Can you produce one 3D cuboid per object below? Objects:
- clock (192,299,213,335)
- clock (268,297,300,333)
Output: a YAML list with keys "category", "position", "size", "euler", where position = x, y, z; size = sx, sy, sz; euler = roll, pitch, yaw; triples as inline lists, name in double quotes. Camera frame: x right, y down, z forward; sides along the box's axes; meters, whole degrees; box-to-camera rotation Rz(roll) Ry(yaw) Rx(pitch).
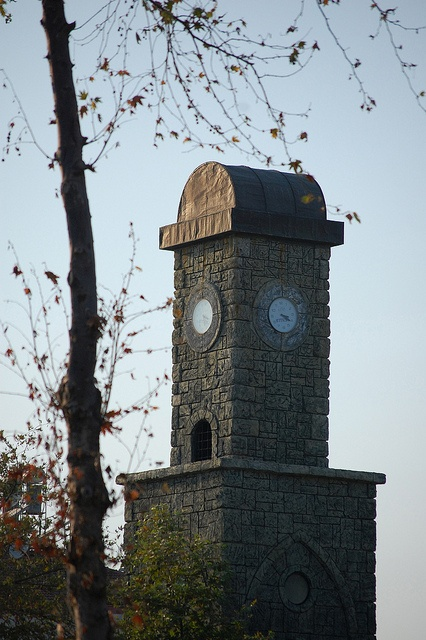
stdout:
- category: "clock"
  position: [-0.182, -0.020, 31.520]
  size: [0.035, 0.556, 0.402]
  euler: [13, -19, -36]
- category: "clock"
  position: [1.065, -0.041, 31.283]
  size: [0.456, 0.531, 0.049]
  euler: [6, -17, -36]
